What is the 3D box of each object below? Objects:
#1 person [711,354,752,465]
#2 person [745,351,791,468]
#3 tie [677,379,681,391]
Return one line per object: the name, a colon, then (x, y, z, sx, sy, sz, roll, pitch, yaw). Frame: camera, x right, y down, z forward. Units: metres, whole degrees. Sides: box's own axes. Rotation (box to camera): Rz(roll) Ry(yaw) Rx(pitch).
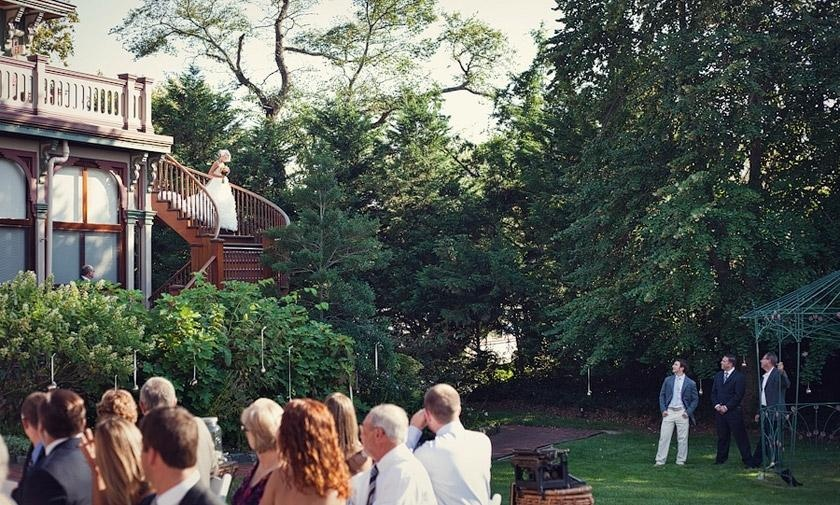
person: (8.175, 4.160, 33.423, 0.922, 2.768, 1.090, 0, -1, -35)
person: (8.990, 4.108, 32.311, 1.183, 2.767, 1.001, 0, 1, 39)
tie: (6.857, 3.474, 33.353, 0.148, 0.299, 0.074, 2, -9, 5)
